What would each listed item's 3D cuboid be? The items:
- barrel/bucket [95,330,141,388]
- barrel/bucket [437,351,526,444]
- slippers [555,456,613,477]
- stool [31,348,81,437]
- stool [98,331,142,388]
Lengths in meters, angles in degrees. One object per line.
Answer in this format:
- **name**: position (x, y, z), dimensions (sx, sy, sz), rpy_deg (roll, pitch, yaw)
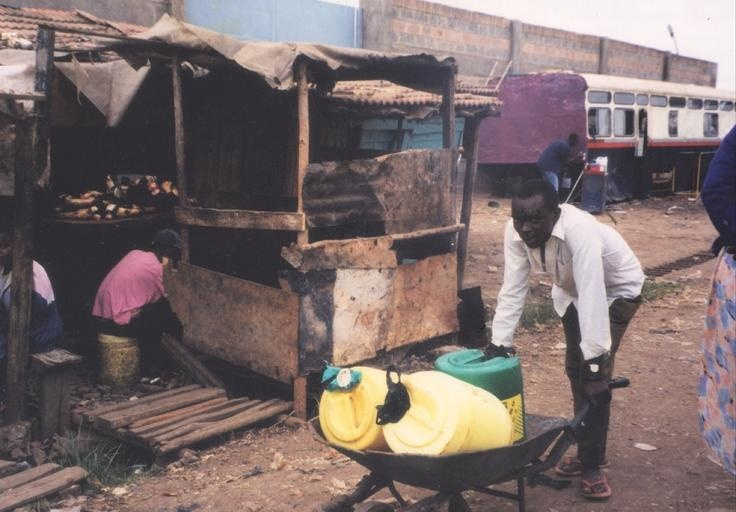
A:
- **barrel/bucket**: position (-3.293, 1.377, 10.782), dimensions (0.647, 0.689, 0.646), rpy_deg (2, -1, 0)
- **barrel/bucket**: position (1.107, 1.338, 8.017), dimensions (0.811, 0.900, 0.850), rpy_deg (-2, -2, 0)
- **slippers**: position (2.275, 2.230, 8.625), dimensions (0.528, 0.221, 0.233), rpy_deg (0, 4, 5)
- **stool**: position (-3.725, 1.649, 9.796), dimensions (0.542, 0.958, 0.546), rpy_deg (-6, 13, -33)
- **stool**: position (-3.379, 1.430, 11.037), dimensions (0.609, 0.637, 0.618), rpy_deg (0, 3, 16)
